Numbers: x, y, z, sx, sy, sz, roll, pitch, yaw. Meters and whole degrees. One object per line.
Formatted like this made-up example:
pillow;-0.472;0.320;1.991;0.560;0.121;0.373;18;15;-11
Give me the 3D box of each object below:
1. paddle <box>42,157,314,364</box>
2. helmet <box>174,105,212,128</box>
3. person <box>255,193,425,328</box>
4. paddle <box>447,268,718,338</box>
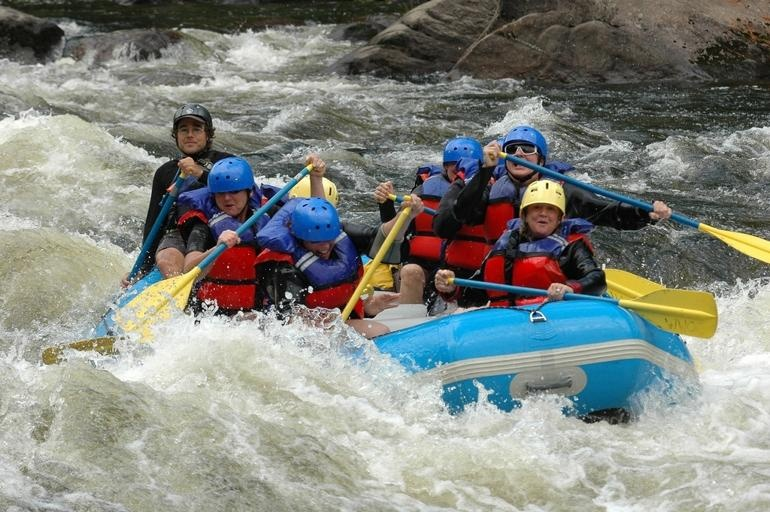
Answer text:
paddle;-2.242;0.125;9.954;1.087;2.783;0.128;46;-4;22
helmet;-2.115;-1.529;10.264;0.419;0.235;0.317;-3;23;-29
person;-0.486;0.084;9.457;0.724;1.249;1.060;-15;7;46
paddle;1.727;0.400;9.238;2.854;0.729;0.483;4;13;8
